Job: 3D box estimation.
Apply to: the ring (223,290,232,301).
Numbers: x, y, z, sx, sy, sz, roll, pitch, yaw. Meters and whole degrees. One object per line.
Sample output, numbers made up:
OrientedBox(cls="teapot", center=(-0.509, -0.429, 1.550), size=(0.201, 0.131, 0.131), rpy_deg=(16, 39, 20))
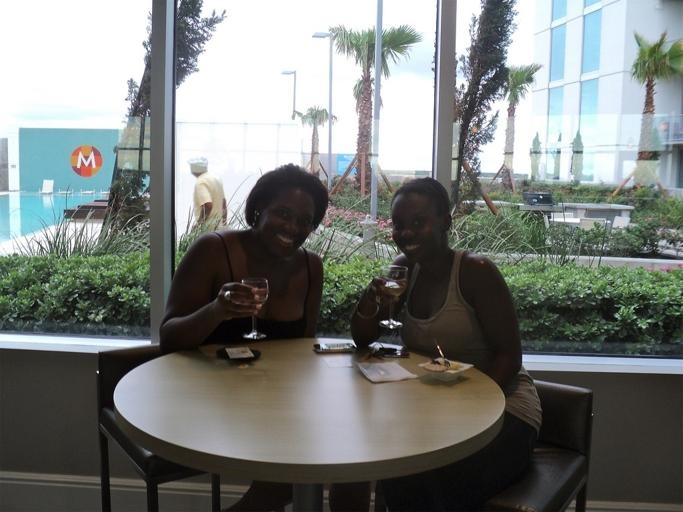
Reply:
OrientedBox(cls="ring", center=(-0.416, 0.142, 1.891), size=(0.031, 0.032, 0.031), rpy_deg=(-1, 10, 0))

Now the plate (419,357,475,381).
OrientedBox(cls="plate", center=(0.376, 0.406, 1.844), size=(0.101, 0.028, 0.101), rpy_deg=(-2, 8, -16))

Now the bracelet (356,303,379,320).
OrientedBox(cls="bracelet", center=(0.110, 0.254, 2.268), size=(0.069, 0.046, 0.072), rpy_deg=(19, 34, 14))

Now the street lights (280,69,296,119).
OrientedBox(cls="street lights", center=(-0.298, -0.931, 2.978), size=(0.088, 0.271, 0.066), rpy_deg=(-1, 13, -9))
